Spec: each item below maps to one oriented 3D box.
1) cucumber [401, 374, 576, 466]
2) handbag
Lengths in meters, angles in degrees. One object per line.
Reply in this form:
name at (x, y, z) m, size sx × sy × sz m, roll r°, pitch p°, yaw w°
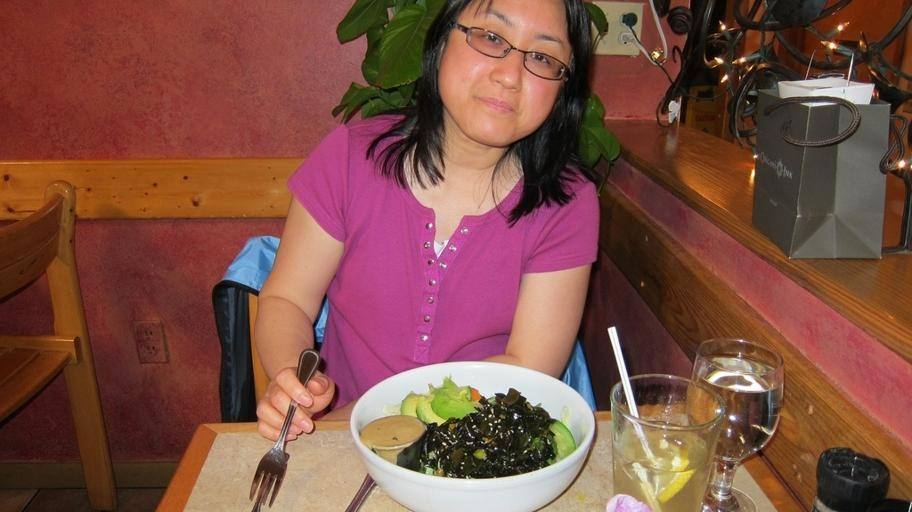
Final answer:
cucumber at (0.076, 0.413, 1.473) m, size 0.266 × 0.098 × 0.259 m, roll 0°, pitch 7°, yaw 2°
handbag at (0.902, -0.238, 1.468) m, size 0.227 × 0.392 × 0.311 m, roll -1°, pitch 22°, yaw 14°
